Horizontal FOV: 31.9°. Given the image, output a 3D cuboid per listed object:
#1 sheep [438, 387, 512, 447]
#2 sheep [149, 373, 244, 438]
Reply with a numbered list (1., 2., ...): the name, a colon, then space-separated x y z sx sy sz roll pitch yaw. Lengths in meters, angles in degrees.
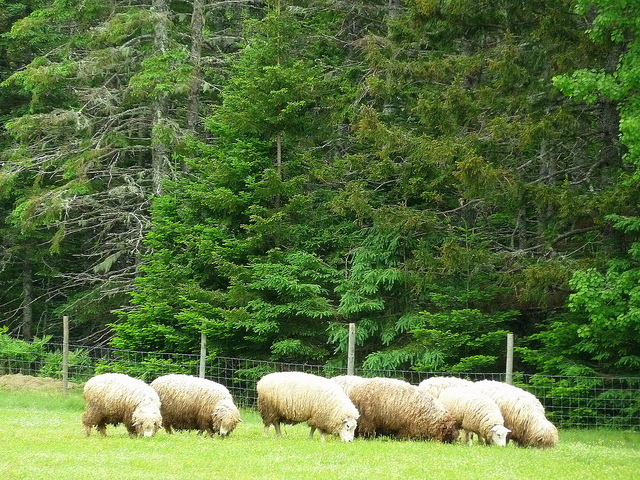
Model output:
1. sheep: 3.845 4.433 27.273 0.929 1.382 2.103 -7 17 -28
2. sheep: -3.021 4.117 27.302 2.421 1.501 1.248 8 9 34
